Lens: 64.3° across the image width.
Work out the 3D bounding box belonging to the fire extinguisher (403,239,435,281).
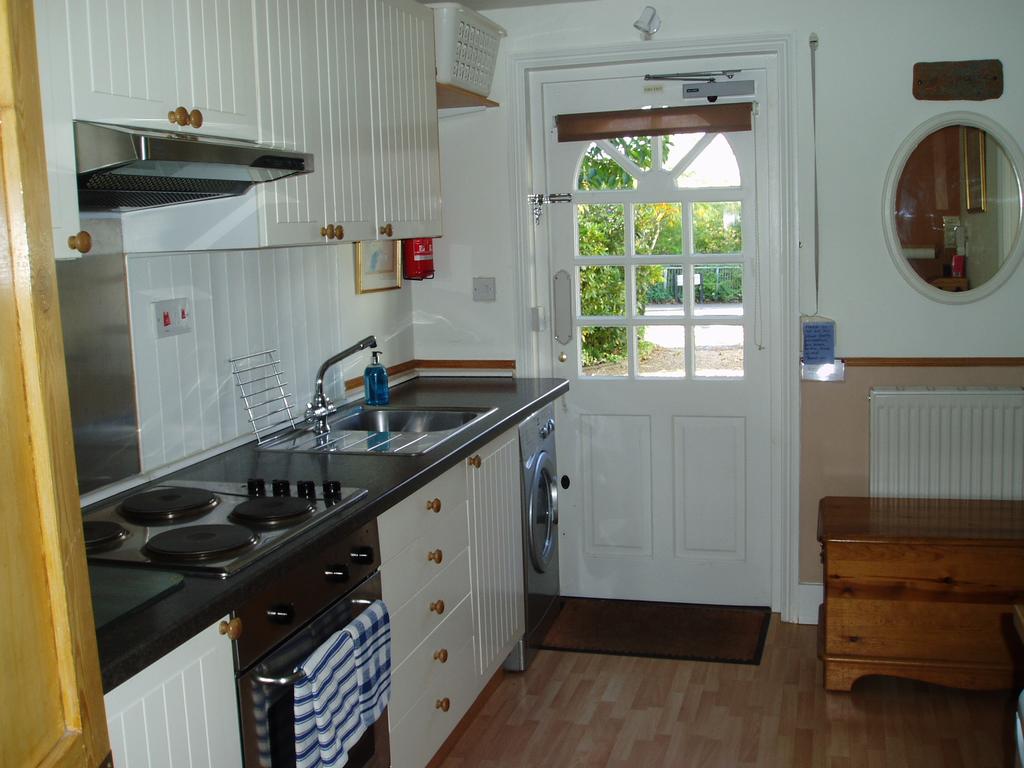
[{"bbox_3d":[-0.445,-0.587,3.824,0.081,0.211,0.146,14,18,43],"label":"fire extinguisher"}]

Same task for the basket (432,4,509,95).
[{"bbox_3d":[-0.188,-1.393,3.401,0.318,0.261,0.511,7,0,15],"label":"basket"}]

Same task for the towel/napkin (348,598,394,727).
[{"bbox_3d":[-0.350,0.698,2.051,0.089,0.265,0.111,7,9,15],"label":"towel/napkin"}]

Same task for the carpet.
[{"bbox_3d":[0.658,1.096,3.672,1.016,0.022,0.536,0,11,11],"label":"carpet"}]

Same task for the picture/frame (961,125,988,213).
[{"bbox_3d":[1.921,-0.887,3.389,0.112,0.355,0.041,-1,10,6],"label":"picture/frame"}]
